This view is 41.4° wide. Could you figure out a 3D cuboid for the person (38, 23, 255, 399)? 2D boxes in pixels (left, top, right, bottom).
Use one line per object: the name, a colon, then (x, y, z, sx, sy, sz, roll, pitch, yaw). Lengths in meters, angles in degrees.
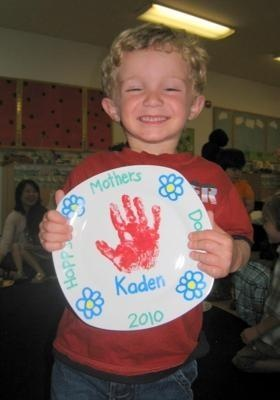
person: (0.034, 0.000, 0.908, 0.469, 0.911, 0.457, 1, 4, 15)
